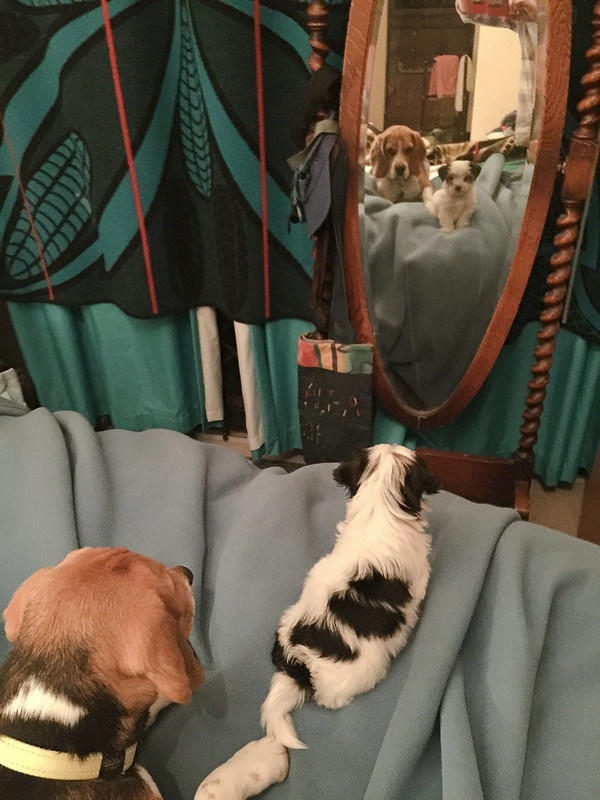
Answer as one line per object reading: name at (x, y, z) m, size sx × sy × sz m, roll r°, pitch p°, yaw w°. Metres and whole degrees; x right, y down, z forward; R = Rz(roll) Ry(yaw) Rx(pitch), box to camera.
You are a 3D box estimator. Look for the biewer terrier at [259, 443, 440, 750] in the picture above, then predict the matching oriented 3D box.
biewer terrier at (0.077, 0.271, 1.010) m, size 0.171 × 0.212 × 0.423 m, roll 18°, pitch 70°, yaw 28°
